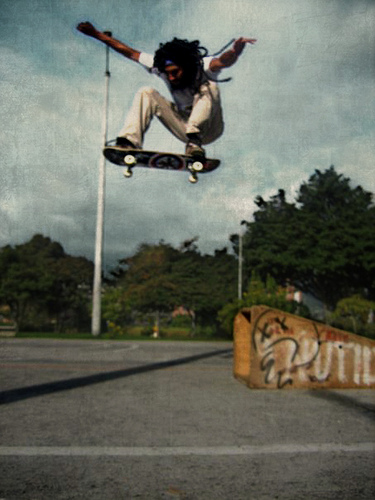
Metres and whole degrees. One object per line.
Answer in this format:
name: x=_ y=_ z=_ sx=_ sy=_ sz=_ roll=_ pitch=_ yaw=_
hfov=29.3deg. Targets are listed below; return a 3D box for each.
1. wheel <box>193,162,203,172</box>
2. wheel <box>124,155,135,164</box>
wheel: x=0.209 y=-1.509 z=12.826 sx=0.170 sy=0.126 sz=0.282 roll=-1 pitch=-6 yaw=12
wheel: x=-1.039 y=-1.654 z=12.897 sx=0.144 sy=0.155 sz=0.045 roll=-1 pitch=2 yaw=0
